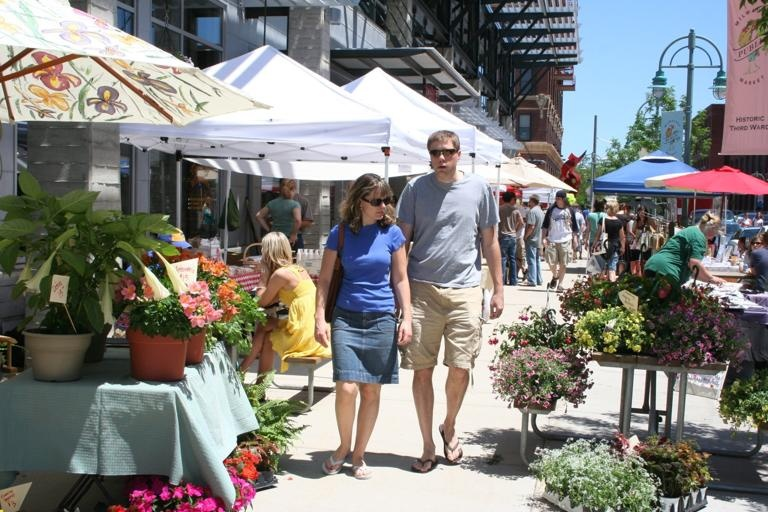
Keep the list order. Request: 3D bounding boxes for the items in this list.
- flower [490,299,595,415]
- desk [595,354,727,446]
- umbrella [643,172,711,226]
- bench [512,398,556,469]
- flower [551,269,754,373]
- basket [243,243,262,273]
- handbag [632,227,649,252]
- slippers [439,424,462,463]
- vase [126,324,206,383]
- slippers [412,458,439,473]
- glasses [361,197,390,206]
[{"bbox_3d":[1.326,1.007,6.620,0.925,0.692,0.969,2,40,-10],"label":"flower"},{"bbox_3d":[2.675,1.398,6.870,0.853,0.754,0.503,8,12,22],"label":"desk"},{"bbox_3d":[5.101,-1.048,13.002,0.841,0.569,0.846,-7,11,-24],"label":"umbrella"},{"bbox_3d":[1.330,1.523,6.459,0.402,0.595,0.600,0,1,15],"label":"bench"},{"bbox_3d":[2.393,0.590,6.330,1.169,0.461,1.267,5,6,18],"label":"flower"},{"bbox_3d":[-2.009,0.030,11.028,0.281,0.352,0.361,2,-1,-5],"label":"basket"},{"bbox_3d":[5.526,-0.335,15.514,0.289,0.573,0.480,5,-3,-22],"label":"handbag"},{"bbox_3d":[0.574,1.660,6.279,0.137,0.358,0.084,-15,-16,-13],"label":"slippers"},{"bbox_3d":[-1.436,0.663,4.745,0.380,0.275,0.381,2,1,-44],"label":"vase"},{"bbox_3d":[0.348,1.748,6.065,0.245,0.092,0.180,1,7,-7],"label":"slippers"},{"bbox_3d":[-0.056,-0.438,5.841,0.229,0.068,0.076,-1,8,-22],"label":"glasses"}]
